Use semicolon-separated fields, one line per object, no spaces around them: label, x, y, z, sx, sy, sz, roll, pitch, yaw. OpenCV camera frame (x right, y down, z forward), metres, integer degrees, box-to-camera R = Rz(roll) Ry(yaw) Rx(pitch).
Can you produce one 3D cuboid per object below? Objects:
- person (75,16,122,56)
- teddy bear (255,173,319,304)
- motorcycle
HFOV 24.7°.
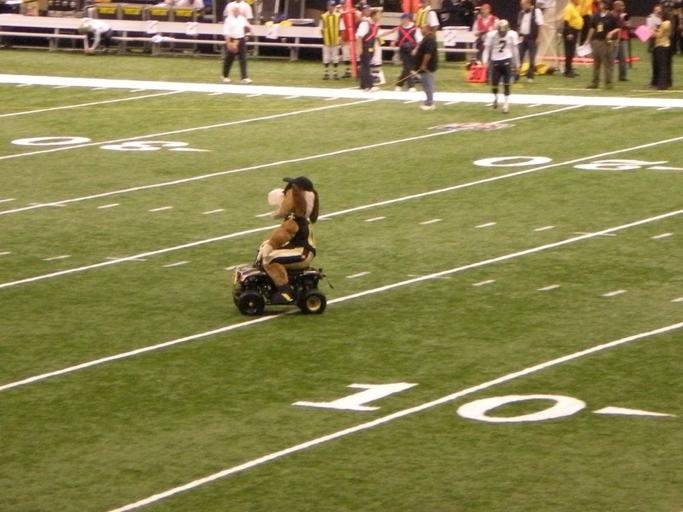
person;-6.801;-6.046;43.211;1.060;1.021;1.710;0;7;-7
teddy bear;-0.608;-0.170;18.967;0.750;1.528;0.314;-3;10;-20
motorcycle;-0.800;0.428;18.996;1.369;0.484;0.713;1;6;-3
